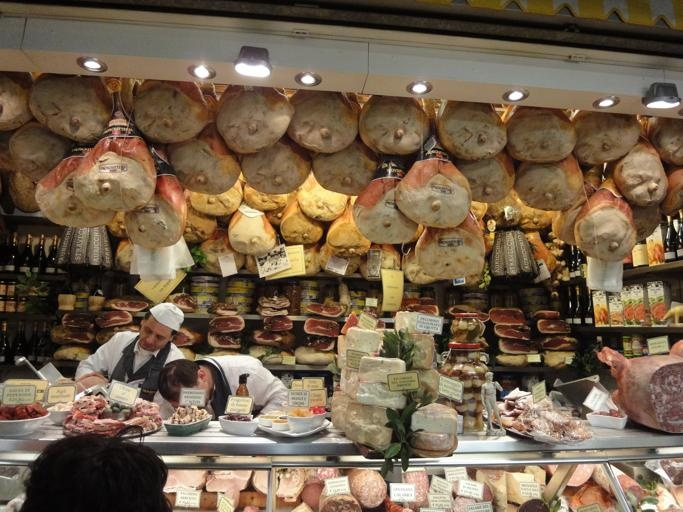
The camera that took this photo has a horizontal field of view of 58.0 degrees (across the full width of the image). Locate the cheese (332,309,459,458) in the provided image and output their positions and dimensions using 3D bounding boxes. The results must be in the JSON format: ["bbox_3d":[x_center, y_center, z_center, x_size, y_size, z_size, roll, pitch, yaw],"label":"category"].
[{"bbox_3d":[0.297,0.733,3.392,0.883,0.627,0.420,3,-15,-3],"label":"cheese"}]

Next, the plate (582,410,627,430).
[{"bbox_3d":[1.651,1.025,3.825,0.231,0.091,0.182,-2,-11,20],"label":"plate"}]

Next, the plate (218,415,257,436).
[{"bbox_3d":[-0.577,0.959,3.464,0.212,0.093,0.140,3,-10,-8],"label":"plate"}]

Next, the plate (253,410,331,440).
[{"bbox_3d":[-0.276,0.964,3.517,0.265,0.085,0.336,-1,1,-45],"label":"plate"}]

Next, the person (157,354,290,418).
[{"bbox_3d":[-0.913,0.922,4.490,0.694,0.323,0.855,-8,-10,31],"label":"person"}]

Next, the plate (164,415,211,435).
[{"bbox_3d":[-0.840,0.958,3.458,0.295,0.090,0.143,11,-13,-44],"label":"plate"}]
